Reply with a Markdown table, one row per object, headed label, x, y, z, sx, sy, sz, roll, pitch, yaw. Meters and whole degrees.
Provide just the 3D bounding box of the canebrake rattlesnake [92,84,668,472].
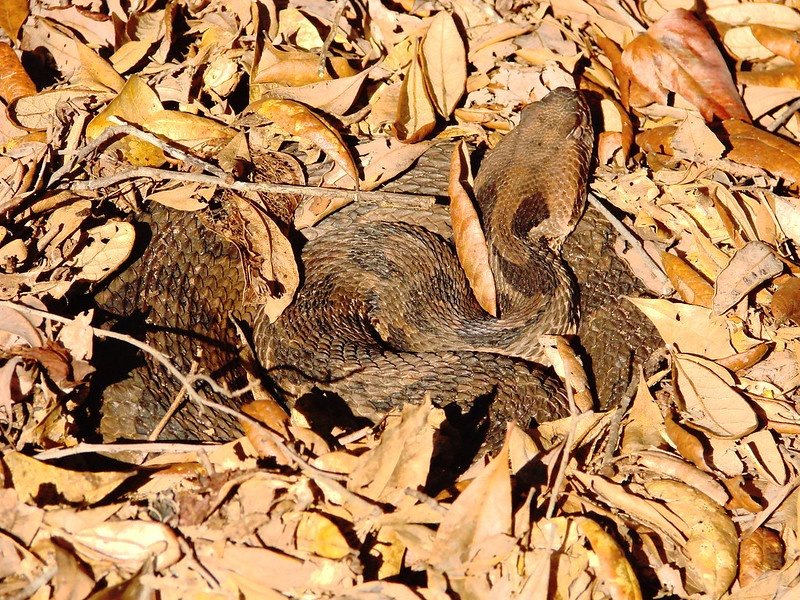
| label | x | y | z | sx | sy | sz | roll | pitch | yaw |
| --- | --- | --- | --- | --- | --- | --- | --- | --- | --- |
| canebrake rattlesnake | 0.064 | 0.012 | 3.927 | 2.227 | 0.667 | 1.450 | -15 | 71 | -12 |
